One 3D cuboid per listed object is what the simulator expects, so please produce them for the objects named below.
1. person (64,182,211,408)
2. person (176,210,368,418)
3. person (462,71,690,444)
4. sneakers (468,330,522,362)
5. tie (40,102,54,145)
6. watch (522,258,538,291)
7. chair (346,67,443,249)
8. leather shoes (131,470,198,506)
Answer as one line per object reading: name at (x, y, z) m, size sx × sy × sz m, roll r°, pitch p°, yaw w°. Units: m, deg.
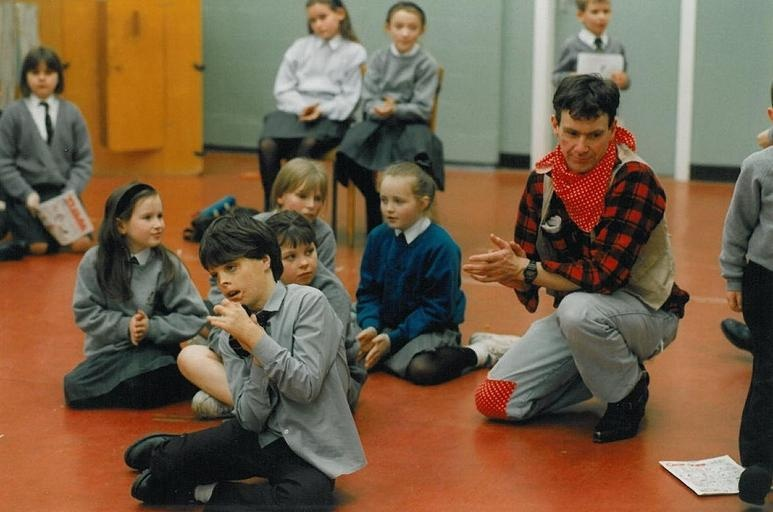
person at (-0.999, 0.139, 3.201) m, size 0.508 × 0.788 × 0.614 m, roll 21°, pitch 21°, yaw 41°
person at (-0.424, 0.221, 3.319) m, size 0.857 × 0.877 × 0.768 m, roll 2°, pitch 1°, yaw 29°
person at (0.692, -0.001, 2.957) m, size 0.728 × 1.262 × 0.414 m, roll 6°, pitch 16°, yaw 18°
sneakers at (0.461, 0.382, 3.594) m, size 0.136 × 0.046 × 0.138 m, roll 6°, pitch 10°, yaw 44°
tie at (-1.833, -0.720, 4.490) m, size 0.055 × 0.243 × 0.250 m, roll -5°, pitch 15°, yaw -19°
watch at (0.509, 0.070, 2.967) m, size 0.060 × 0.090 × 0.092 m, roll 6°, pitch 20°, yaw 9°
chair at (0.033, -0.696, 4.844) m, size 0.637 × 0.837 × 0.522 m, roll 7°, pitch 21°, yaw 5°
leather shoes at (-0.701, 0.743, 2.630) m, size 0.253 × 0.096 × 0.088 m, roll 8°, pitch 2°, yaw -10°
